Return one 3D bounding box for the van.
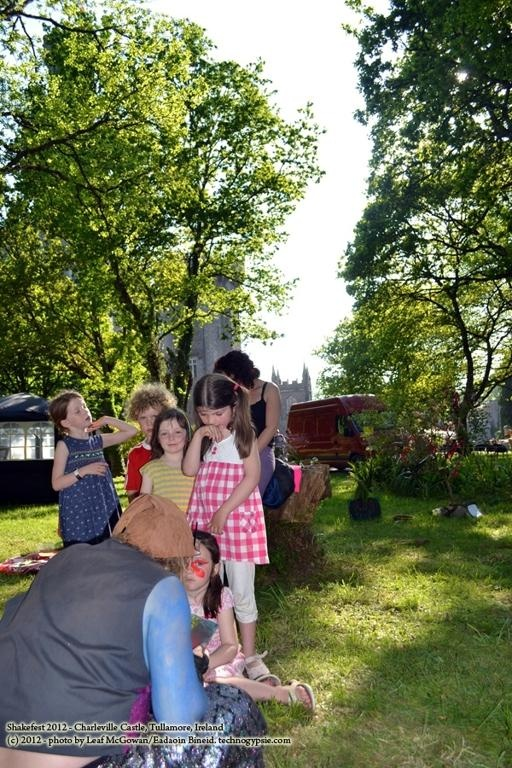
[{"bbox_3d":[2.921,1.618,19.520,2.220,2.271,4.510,0,-5,-31],"label":"van"}]

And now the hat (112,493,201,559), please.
[{"bbox_3d":[-0.294,0.398,1.763,0.158,0.181,0.211,33,-10,-10],"label":"hat"}]

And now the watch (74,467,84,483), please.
[{"bbox_3d":[-1.251,0.642,4.297,0.095,0.084,0.064,33,25,35],"label":"watch"}]

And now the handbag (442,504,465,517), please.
[{"bbox_3d":[2.954,1.897,9.078,0.324,0.147,0.243,6,3,22],"label":"handbag"}]

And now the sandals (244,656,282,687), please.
[{"bbox_3d":[0.023,1.577,3.352,0.195,0.082,0.120,27,15,23],"label":"sandals"}]
